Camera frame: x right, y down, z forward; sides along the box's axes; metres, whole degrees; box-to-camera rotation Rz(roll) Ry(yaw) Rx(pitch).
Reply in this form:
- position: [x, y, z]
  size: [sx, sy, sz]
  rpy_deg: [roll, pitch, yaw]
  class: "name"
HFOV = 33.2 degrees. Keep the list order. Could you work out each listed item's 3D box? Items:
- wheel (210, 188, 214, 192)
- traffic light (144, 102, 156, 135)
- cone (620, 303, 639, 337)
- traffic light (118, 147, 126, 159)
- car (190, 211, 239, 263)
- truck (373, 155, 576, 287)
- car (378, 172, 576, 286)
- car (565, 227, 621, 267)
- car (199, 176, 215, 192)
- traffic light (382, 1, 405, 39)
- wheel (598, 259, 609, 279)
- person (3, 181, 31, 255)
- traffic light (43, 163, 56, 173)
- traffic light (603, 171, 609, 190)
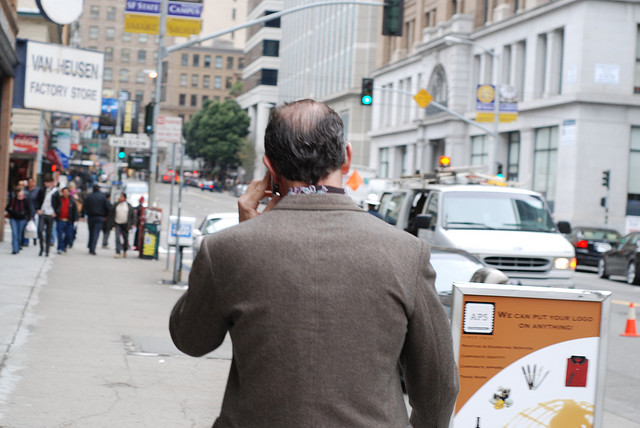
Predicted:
- position: [-11.205, -2.450, 110.567]
  size: [0.434, 0.462, 0.422]
  rpy_deg: [2, 3, 0]
  class: "wheel"
- position: [-5.497, -3.027, 34.499]
  size: [0.309, 1.019, 0.671]
  rpy_deg: [2, 12, -9]
  class: "traffic light"
- position: [7.463, 2.481, 25.678]
  size: [0.435, 0.879, 0.735]
  rpy_deg: [7, 12, 15]
  class: "cone"
- position: [-7.547, -2.238, 40.618]
  size: [0.284, 0.405, 0.563]
  rpy_deg: [-1, 0, -9]
  class: "traffic light"
- position: [-2.921, 0.656, 31.686]
  size: [1.328, 1.146, 2.863]
  rpy_deg: [-1, 10, -3]
  class: "car"
- position: [3.968, 0.179, 27.697]
  size: [3.205, 2.391, 5.116]
  rpy_deg: [5, -2, -19]
  class: "truck"
- position: [3.852, 0.348, 27.864]
  size: [2.980, 2.002, 4.339]
  rpy_deg: [1, -2, -18]
  class: "car"
- position: [10.086, 1.327, 39.063]
  size: [1.734, 1.264, 3.673]
  rpy_deg: [1, 0, 2]
  class: "car"
- position: [-11.698, -3.064, 111.218]
  size: [1.668, 1.066, 2.372]
  rpy_deg: [2, 6, -2]
  class: "car"
- position: [2.140, -5.724, 31.792]
  size: [0.554, 0.894, 0.907]
  rpy_deg: [6, 12, 11]
  class: "traffic light"
- position: [9.882, 1.927, 37.239]
  size: [0.224, 0.708, 0.514]
  rpy_deg: [3, 12, -3]
  class: "wheel"
- position: [-8.968, 0.220, 31.804]
  size: [0.718, 1.935, 1.361]
  rpy_deg: [0, 12, -15]
  class: "person"
- position: [-14.049, -2.379, 55.503]
  size: [0.521, 0.468, 0.886]
  rpy_deg: [-4, 5, -11]
  class: "traffic light"
- position: [12.709, -1.463, 47.626]
  size: [0.278, 0.827, 0.384]
  rpy_deg: [9, 13, 23]
  class: "traffic light"
